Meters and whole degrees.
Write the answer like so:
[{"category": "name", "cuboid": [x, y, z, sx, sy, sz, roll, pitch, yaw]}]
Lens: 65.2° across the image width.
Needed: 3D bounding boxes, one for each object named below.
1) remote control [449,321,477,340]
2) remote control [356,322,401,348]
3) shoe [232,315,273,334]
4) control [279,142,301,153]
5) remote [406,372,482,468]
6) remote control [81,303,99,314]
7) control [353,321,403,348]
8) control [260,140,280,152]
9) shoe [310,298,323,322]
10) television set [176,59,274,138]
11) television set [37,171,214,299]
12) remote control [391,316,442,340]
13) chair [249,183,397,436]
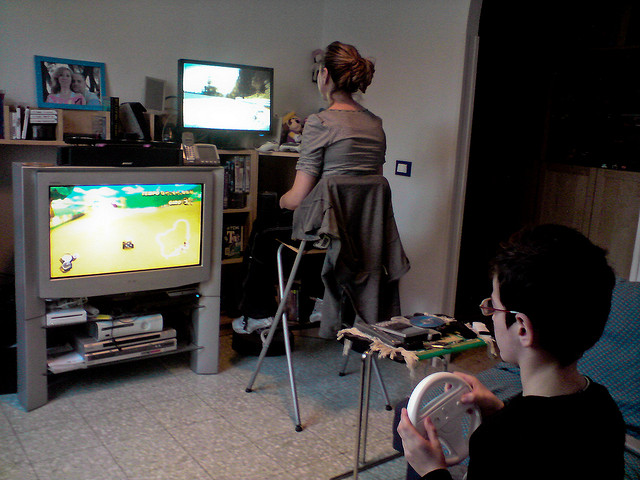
[{"category": "remote control", "cuboid": [0.597, 0.369, 2.103, 0.044, 0.030, 0.168, 10, 6, -28]}, {"category": "remote control", "cuboid": [0.235, 0.381, 2.040, 0.036, 0.037, 0.256, -7, 17, -35]}, {"category": "shoe", "cuboid": [-0.485, 0.607, 3.637, 0.236, 0.080, 0.129, 1, 13, -6]}, {"category": "control", "cuboid": [-0.225, -0.743, 3.989, 0.159, 0.067, 0.258, 4, 14, 1]}, {"category": "remote", "cuboid": [0.380, 0.552, 1.562, 0.290, 0.296, 0.058, -20, 1, -34]}, {"category": "remote control", "cuboid": [-1.340, 0.407, 2.951, 0.085, 0.018, 0.061, 24, 11, 25]}, {"category": "control", "cuboid": [0.245, 0.389, 2.053, 0.057, 0.042, 0.211, -33, 37, -26]}, {"category": "control", "cuboid": [-0.381, -0.745, 3.951, 0.172, 0.064, 0.084, -5, 9, -42]}, {"category": "shoe", "cuboid": [-0.020, 0.467, 3.362, 0.065, 0.143, 0.146, 4, 15, -2]}, {"category": "television set", "cuboid": [-0.720, -1.067, 3.769, 0.864, 0.520, 0.070, -3, 14, -27]}, {"category": "television set", "cuboid": [-1.128, -0.053, 2.853, 1.103, 0.640, 0.176, -3, 11, -31]}, {"category": "remote control", "cuboid": [0.433, 0.348, 2.051, 0.110, 0.025, 0.118, -3, 11, -29]}, {"category": "chair", "cuboid": [0.074, 0.276, 2.689, 0.766, 1.203, 0.565, 2, 1, -27]}]
